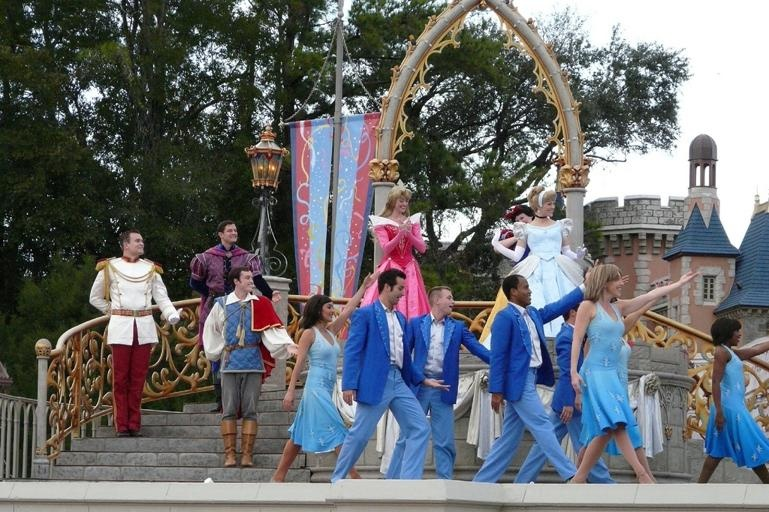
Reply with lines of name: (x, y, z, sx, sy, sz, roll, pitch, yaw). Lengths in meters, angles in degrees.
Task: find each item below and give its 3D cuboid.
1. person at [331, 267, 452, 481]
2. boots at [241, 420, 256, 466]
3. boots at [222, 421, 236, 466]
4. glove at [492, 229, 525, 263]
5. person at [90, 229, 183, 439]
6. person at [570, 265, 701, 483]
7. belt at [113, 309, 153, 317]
person: (-0.019, 2.008, 30.403, 1.569, 3.520, 0.622, 1, 0, -2)
boots: (-2.435, 3.346, 31.915, 0.246, 0.821, 0.155, 1, 0, -13)
boots: (-2.796, 3.353, 31.953, 0.276, 0.836, 0.222, 1, 0, -9)
glove: (2.328, -0.138, 33.279, 0.352, 0.679, 0.500, -41, -16, -22)
person: (-4.673, 1.429, 32.756, 1.456, 3.730, 0.666, 1, 0, -9)
person: (3.888, 1.999, 30.463, 1.393, 3.538, 0.887, 1, 0, 5)
belt: (-4.660, 1.063, 32.775, 0.720, 0.138, 0.207, 1, 0, -16)
